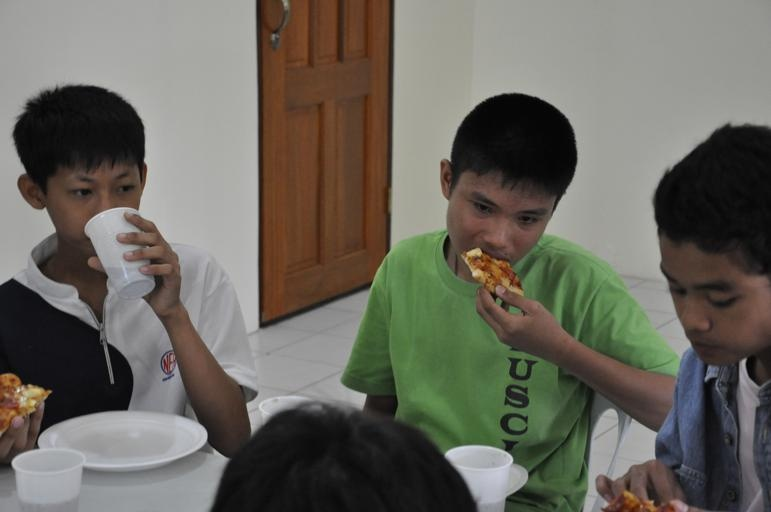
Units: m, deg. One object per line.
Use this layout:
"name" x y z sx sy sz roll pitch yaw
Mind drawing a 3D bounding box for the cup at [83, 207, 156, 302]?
"cup" -0.591 -0.002 1.382 0.134 0.209 0.063 4 9 3

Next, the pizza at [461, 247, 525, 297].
"pizza" 0.255 0.063 1.529 0.025 0.142 0.100 -40 2 38
